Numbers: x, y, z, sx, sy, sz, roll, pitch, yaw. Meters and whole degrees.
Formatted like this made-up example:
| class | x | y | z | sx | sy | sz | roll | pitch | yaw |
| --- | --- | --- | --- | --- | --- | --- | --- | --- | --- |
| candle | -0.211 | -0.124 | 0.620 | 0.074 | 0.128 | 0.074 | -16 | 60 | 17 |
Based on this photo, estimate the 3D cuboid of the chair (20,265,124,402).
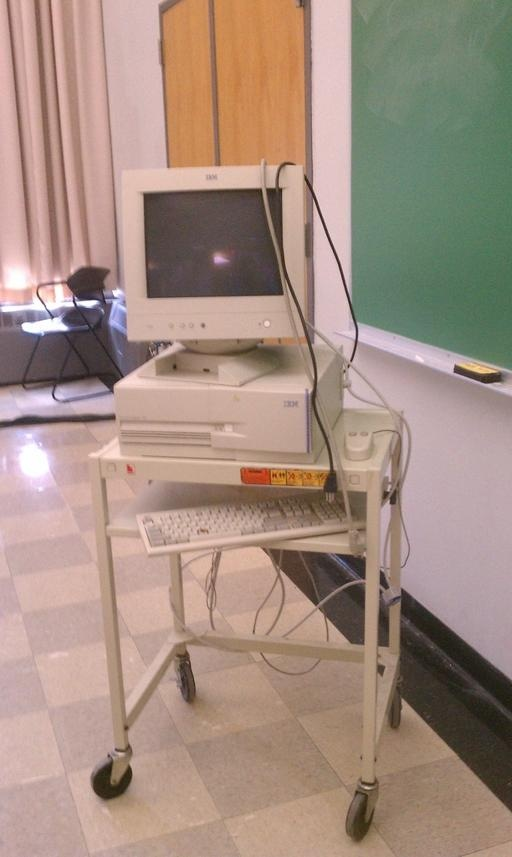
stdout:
| class | x | y | z | sx | sy | sz | roll | pitch | yaw |
| --- | --- | --- | --- | --- | --- | --- | --- | --- | --- |
| chair | -1.430 | -0.726 | 5.061 | 0.737 | 0.938 | 0.922 | -6 | 12 | -20 |

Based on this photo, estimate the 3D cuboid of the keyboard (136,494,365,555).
| class | x | y | z | sx | sy | sz | roll | pitch | yaw |
| --- | --- | --- | --- | --- | --- | --- | --- | --- | --- |
| keyboard | -0.026 | 0.172 | 1.176 | 0.370 | 0.050 | 0.192 | -4 | 12 | -9 |

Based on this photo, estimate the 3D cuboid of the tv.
| class | x | y | z | sx | sy | sz | roll | pitch | yaw |
| --- | --- | --- | --- | --- | --- | --- | --- | --- | --- |
| tv | -0.016 | -0.215 | 1.242 | 0.422 | 0.448 | 0.257 | 0 | 15 | 8 |

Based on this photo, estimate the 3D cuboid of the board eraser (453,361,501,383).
| class | x | y | z | sx | sy | sz | roll | pitch | yaw |
| --- | --- | --- | --- | --- | --- | --- | --- | --- | --- |
| board eraser | 0.512 | -0.128 | 1.539 | 0.064 | 0.036 | 0.132 | -5 | 12 | -15 |
